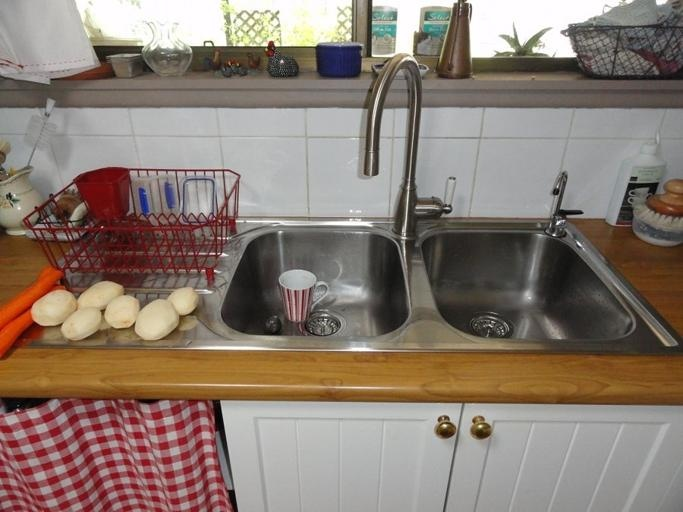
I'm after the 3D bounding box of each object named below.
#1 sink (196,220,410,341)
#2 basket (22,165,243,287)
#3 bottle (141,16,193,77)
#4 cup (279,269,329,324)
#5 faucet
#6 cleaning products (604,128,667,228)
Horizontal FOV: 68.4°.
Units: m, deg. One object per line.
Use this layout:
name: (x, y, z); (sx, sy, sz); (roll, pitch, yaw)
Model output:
sink: (-0.072, 0.070, 1.490); (0.428, 0.155, 0.323); (1, 38, -3)
basket: (-0.572, -0.095, 1.415); (0.567, 0.210, 0.358); (2, 46, -4)
bottle: (-0.499, -0.601, 1.454); (0.133, 0.147, 0.131); (-5, 23, -14)
cup: (-0.115, 0.103, 1.459); (0.173, 0.122, 0.114); (-11, 32, -22)
faucet: (0.177, -0.280, 1.362); (0.281, 0.502, 0.348); (5, 23, 10)
cleaning products: (0.880, -0.211, 1.499); (0.110, 0.250, 0.051); (0, 23, -2)
